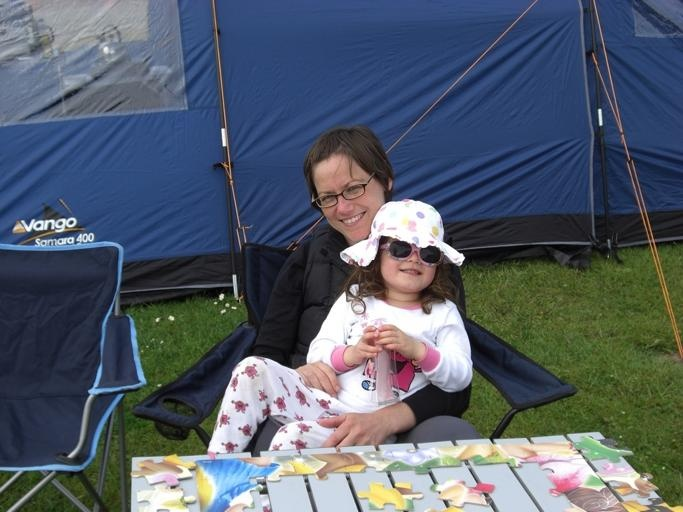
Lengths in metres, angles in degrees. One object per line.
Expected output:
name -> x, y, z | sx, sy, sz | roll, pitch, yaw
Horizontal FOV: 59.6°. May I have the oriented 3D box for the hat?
hat -> 0.306, -0.074, 2.335 | 0.386, 0.221, 0.401 | 10, -7, -38
